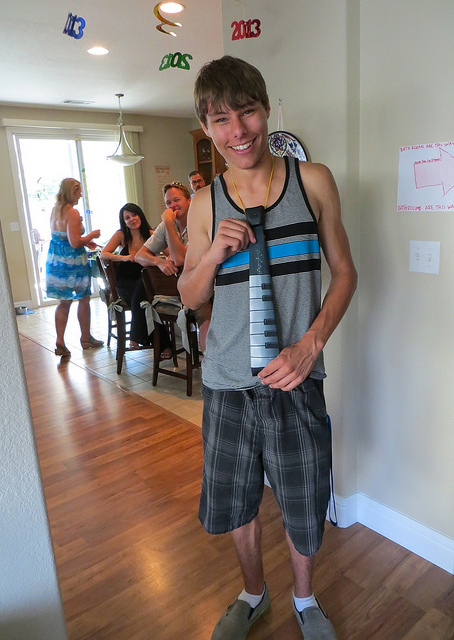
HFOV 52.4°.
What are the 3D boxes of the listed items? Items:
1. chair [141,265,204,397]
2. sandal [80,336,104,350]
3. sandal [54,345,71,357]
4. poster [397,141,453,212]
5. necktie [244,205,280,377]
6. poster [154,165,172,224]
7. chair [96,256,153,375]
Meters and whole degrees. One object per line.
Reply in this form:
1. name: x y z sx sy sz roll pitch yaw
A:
1. chair: -0.411 0.049 3.442 0.515 0.884 0.461 -3 9 -23
2. sandal: -1.348 0.222 4.611 0.087 0.104 0.251 9 16 39
3. sandal: -1.536 0.293 4.271 0.137 0.097 0.124 -10 13 -21
4. poster: 0.560 -0.398 1.275 0.010 0.210 0.213 -10 11 -39
5. necktie: 0.064 -0.054 0.905 0.059 0.325 0.080 -6 12 3
6. poster: -1.091 -2.073 7.769 0.291 1.137 0.023 -1 -14 -4
7. chair: -0.671 -0.037 3.911 0.630 0.800 0.625 -7 8 -33
